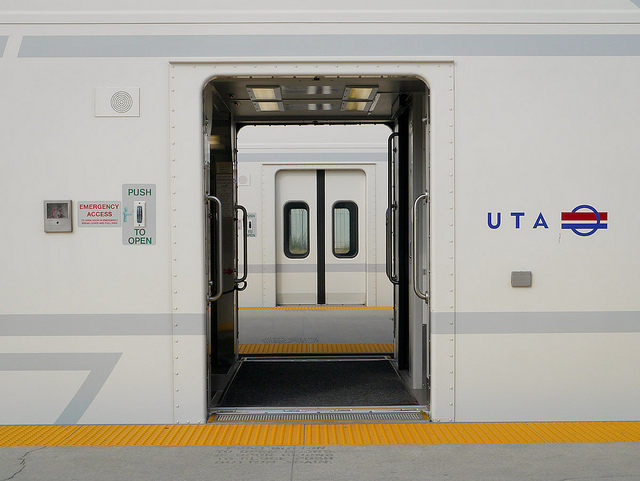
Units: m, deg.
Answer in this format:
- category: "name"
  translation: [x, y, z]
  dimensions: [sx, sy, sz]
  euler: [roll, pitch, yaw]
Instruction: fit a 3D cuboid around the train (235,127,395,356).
- category: "train"
  translation: [0.013, -0.156, 9.320]
  dimensions: [2.706, 2.633, 1.026]
  euler: [5, 22, 13]
